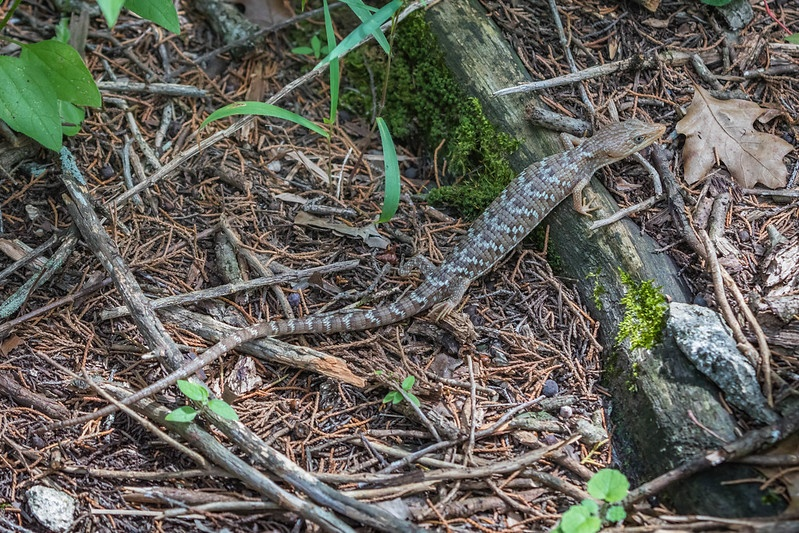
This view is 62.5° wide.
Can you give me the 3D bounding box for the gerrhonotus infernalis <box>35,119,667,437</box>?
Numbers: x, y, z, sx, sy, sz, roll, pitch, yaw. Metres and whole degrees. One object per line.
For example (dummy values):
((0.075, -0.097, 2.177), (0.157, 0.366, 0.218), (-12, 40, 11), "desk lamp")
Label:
((0.498, -0.124, 5.857), (4.319, 0.805, 0.641), (-32, 44, -8), "gerrhonotus infernalis")
